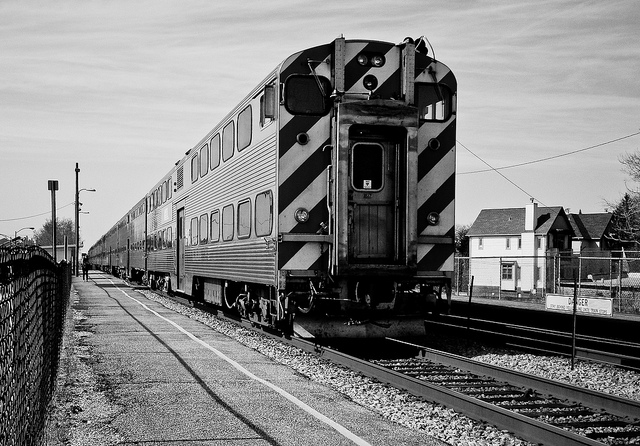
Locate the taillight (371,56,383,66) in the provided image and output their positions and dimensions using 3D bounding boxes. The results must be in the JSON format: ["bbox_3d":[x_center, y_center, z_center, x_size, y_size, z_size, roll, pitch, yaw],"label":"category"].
[{"bbox_3d":[1.039,-2.909,12.509,0.207,0.172,0.014,0,1,-17],"label":"taillight"}]

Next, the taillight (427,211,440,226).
[{"bbox_3d":[2.095,-0.082,12.666,0.210,0.235,0.052,2,-1,-22],"label":"taillight"}]

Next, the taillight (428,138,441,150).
[{"bbox_3d":[2.103,-1.445,12.774,0.196,0.219,0.047,3,-3,-23],"label":"taillight"}]

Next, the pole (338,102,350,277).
[{"bbox_3d":[0.417,-0.591,12.022,0.210,2.959,0.218,0,1,2],"label":"pole"}]

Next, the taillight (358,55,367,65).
[{"bbox_3d":[0.773,-2.926,12.455,0.140,0.158,0.048,1,1,-11],"label":"taillight"}]
